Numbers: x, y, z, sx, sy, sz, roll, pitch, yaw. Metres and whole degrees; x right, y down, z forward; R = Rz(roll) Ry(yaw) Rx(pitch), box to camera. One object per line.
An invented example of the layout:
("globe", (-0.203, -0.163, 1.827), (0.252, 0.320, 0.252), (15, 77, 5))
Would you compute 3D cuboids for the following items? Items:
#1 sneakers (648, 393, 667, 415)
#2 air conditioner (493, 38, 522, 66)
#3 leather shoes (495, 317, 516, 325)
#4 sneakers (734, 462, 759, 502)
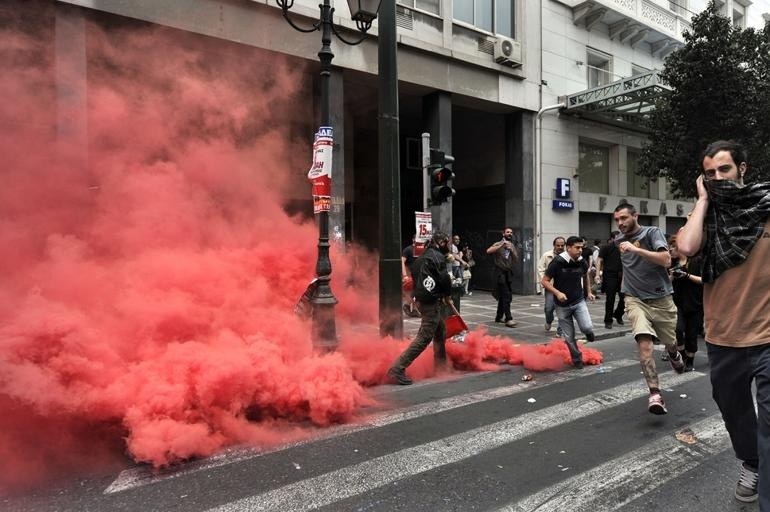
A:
("sneakers", (3.251, 1.760, 7.411), (0.148, 0.182, 0.395), (-5, -16, 27))
("air conditioner", (3.132, -5.261, 15.889), (0.311, 0.640, 0.926), (12, 14, 42))
("leather shoes", (2.309, 1.218, 11.857), (0.144, 0.185, 0.412), (2, -5, -39))
("sneakers", (3.615, 2.291, 6.215), (0.143, 0.210, 0.436), (-4, -2, 43))
